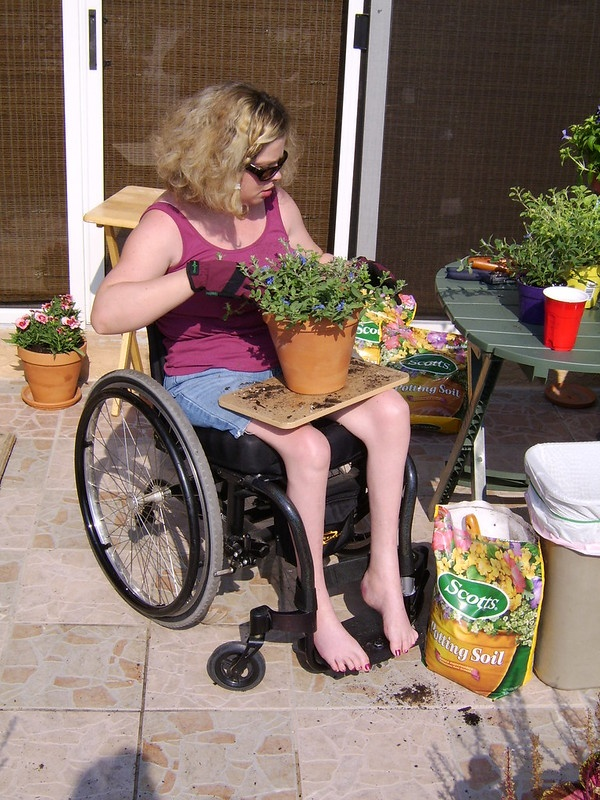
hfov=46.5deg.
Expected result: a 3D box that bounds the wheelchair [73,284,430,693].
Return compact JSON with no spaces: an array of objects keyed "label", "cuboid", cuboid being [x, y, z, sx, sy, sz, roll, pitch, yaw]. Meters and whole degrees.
[{"label":"wheelchair","cuboid":[-0.135,0.285,1.953,0.945,0.907,0.897,-18,33,-31]}]

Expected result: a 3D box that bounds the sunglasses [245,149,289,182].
[{"label":"sunglasses","cuboid":[-0.073,-0.514,1.556,0.080,0.022,0.079,37,61,25]}]

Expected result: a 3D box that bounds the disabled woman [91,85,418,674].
[{"label":"disabled woman","cuboid":[-0.060,-0.085,1.649,0.689,1.193,0.831,-8,20,-41]}]

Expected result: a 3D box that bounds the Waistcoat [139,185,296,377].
[{"label":"Waistcoat","cuboid":[-0.233,-0.310,1.841,0.324,0.416,0.441,-18,32,-33]}]

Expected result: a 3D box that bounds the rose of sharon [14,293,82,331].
[{"label":"rose of sharon","cuboid":[-1.055,-0.365,2.920,0.251,0.114,0.231,-6,25,-16]}]
